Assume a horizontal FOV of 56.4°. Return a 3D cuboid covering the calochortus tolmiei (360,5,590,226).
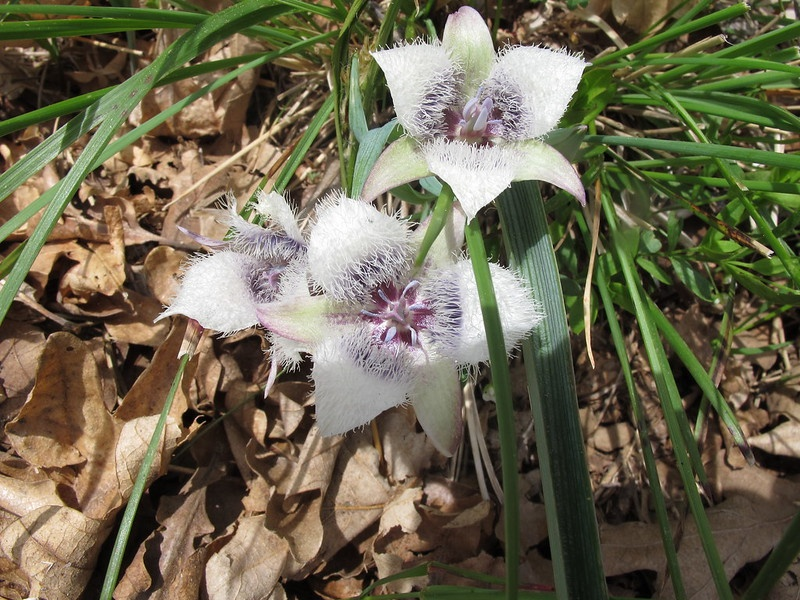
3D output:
[{"bbox_3d":[0.331,-0.796,3.302,0.941,1.002,0.274,6,-15,-2],"label":"calochortus tolmiei"}]
